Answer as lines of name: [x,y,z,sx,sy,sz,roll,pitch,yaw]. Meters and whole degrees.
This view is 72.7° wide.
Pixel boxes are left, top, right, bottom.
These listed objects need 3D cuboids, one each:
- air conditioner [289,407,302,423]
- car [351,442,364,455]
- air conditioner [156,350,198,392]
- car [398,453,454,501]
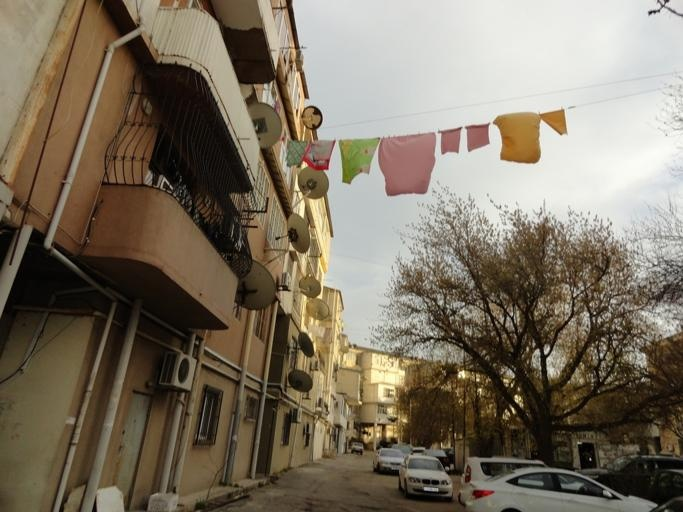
air conditioner: [-2.361,8.093,23.567,0.348,1.088,1.286,-4,-19,9]
car: [2.224,26.611,64.002,1.015,1.409,2.398,4,-23,1]
air conditioner: [-3.769,2.686,10.759,0.311,0.787,0.738,-1,-23,17]
car: [3.130,8.207,17.232,1.621,1.626,2.298,-2,-26,3]
